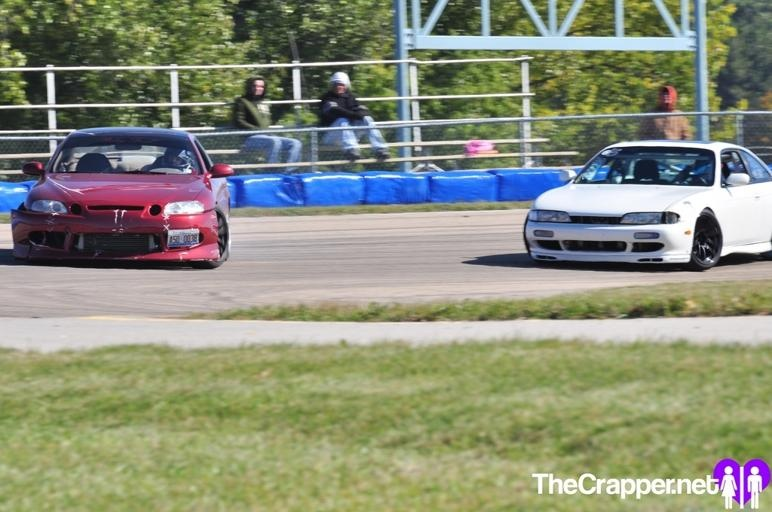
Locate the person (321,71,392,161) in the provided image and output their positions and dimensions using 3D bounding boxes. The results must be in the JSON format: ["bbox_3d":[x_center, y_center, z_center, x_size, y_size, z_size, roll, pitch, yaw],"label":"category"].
[{"bbox_3d":[-0.668,-2.367,22.977,1.060,1.429,1.142,-6,13,-28],"label":"person"}]

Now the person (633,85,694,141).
[{"bbox_3d":[4.701,-2.246,22.115,0.960,0.987,0.640,-5,4,-7],"label":"person"}]

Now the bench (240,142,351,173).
[{"bbox_3d":[-1.942,-1.675,22.369,1.047,0.577,0.193,0,13,-3],"label":"bench"}]

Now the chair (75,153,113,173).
[{"bbox_3d":[-3.637,-1.095,16.446,0.352,0.262,0.334,6,-2,-12],"label":"chair"}]

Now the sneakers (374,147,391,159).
[{"bbox_3d":[-0.009,-1.744,22.941,0.375,0.093,0.218,-3,7,6],"label":"sneakers"}]
